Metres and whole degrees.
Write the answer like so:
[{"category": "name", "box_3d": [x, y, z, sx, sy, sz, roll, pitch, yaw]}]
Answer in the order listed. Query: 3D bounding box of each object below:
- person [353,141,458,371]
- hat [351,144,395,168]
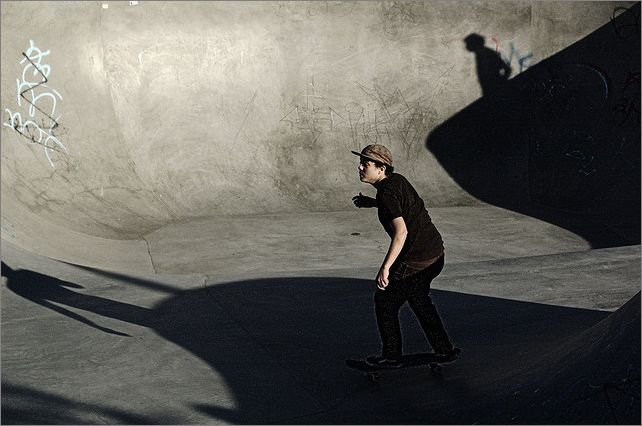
[{"category": "person", "box_3d": [0.980, 0.563, 7.636, 1.037, 2.599, 1.184, -6, 25, 10]}, {"category": "hat", "box_3d": [0.626, -0.692, 7.673, 0.422, 0.154, 0.302, 16, 1, 1]}]
